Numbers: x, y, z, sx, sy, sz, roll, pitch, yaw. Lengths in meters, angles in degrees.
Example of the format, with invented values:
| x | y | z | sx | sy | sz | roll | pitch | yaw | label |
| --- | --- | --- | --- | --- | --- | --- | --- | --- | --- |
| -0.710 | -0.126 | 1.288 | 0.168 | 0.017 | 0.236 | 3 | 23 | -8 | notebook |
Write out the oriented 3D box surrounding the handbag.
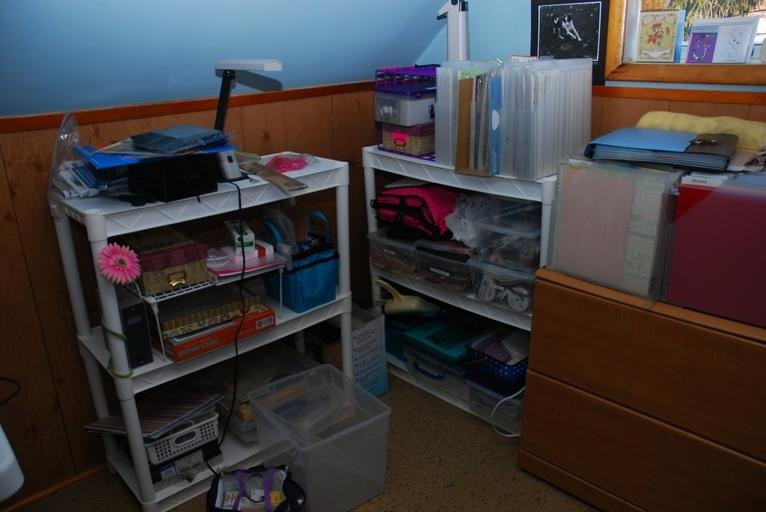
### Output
| x | y | z | sx | sy | sz | roll | pitch | yaw | label |
| --- | --- | --- | --- | --- | --- | --- | --- | --- | --- |
| 0.176 | -0.254 | 2.944 | 0.458 | 0.160 | 0.458 | 19 | -4 | 2 | handbag |

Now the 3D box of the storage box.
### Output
| x | y | z | sx | sy | sz | roll | pitch | yaw | label |
| --- | --- | --- | --- | --- | --- | --- | --- | --- | --- |
| 0.121 | -0.701 | 2.729 | 0.265 | 0.323 | 0.352 | 21 | 35 | 35 | storage box |
